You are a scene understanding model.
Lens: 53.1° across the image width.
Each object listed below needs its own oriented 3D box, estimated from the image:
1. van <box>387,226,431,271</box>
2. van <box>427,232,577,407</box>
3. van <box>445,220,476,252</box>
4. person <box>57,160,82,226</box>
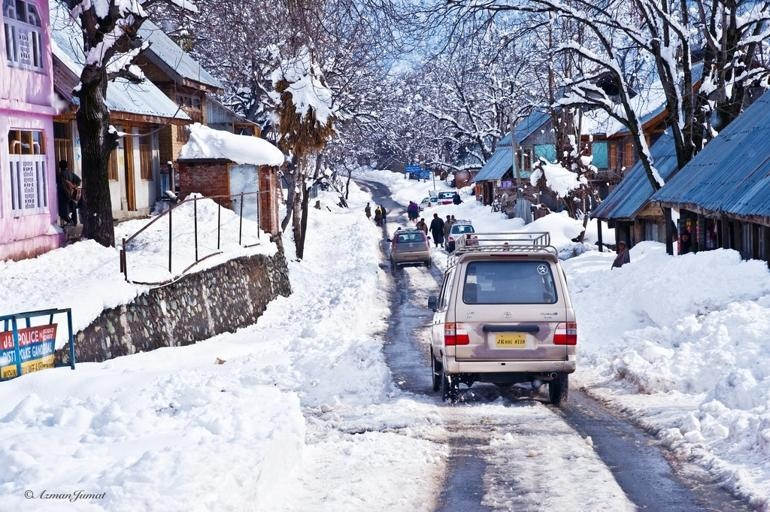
[{"bbox_3d":[1.229,-0.313,36.484,1.192,1.275,2.326,-2,14,-2],"label":"van"},{"bbox_3d":[2.420,1.425,15.536,2.679,3.457,1.913,3,14,1],"label":"van"},{"bbox_3d":[4.029,-1.176,41.217,1.193,1.374,2.995,0,14,4],"label":"van"},{"bbox_3d":[-9.467,-1.938,22.956,0.857,2.007,0.630,-21,38,-39],"label":"person"}]
